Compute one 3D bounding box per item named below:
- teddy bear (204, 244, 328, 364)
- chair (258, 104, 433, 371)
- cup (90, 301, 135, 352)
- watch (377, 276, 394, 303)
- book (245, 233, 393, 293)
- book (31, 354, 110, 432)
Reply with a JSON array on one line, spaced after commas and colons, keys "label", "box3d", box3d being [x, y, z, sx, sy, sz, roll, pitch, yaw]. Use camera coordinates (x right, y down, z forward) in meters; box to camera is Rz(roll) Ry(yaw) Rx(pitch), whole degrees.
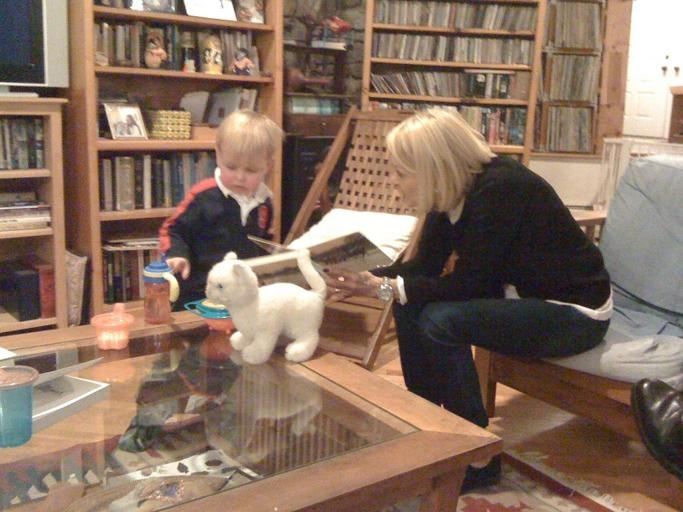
[{"label": "teddy bear", "box3d": [-0.185, 0.133, 1.461, 0.351, 0.259, 0.220, 1, 5, -33]}, {"label": "chair", "box3d": [-0.016, -0.162, 2.337, 0.652, 0.718, 1.216, 10, 22, 26]}, {"label": "cup", "box3d": [-0.579, 0.178, 1.424, 0.106, 0.104, 0.112, 4, 10, -1]}, {"label": "watch", "box3d": [0.127, 0.109, 1.764, 0.054, 0.069, 0.070, -2, 16, -8]}, {"label": "book", "box3d": [-0.042, -0.006, 1.630, 0.357, 0.110, 0.237, -24, 44, -28]}, {"label": "book", "box3d": [-0.567, 0.303, 1.175, 0.092, 0.038, 0.128, 16, 23, 37]}]
